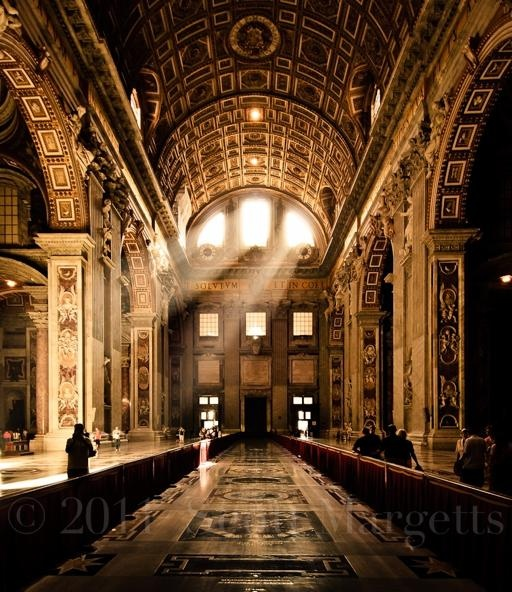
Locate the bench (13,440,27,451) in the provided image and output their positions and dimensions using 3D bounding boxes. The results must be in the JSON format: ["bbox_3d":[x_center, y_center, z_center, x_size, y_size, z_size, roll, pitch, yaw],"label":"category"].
[{"bbox_3d":[-8.962,5.736,18.585,0.502,0.353,1.726,4,-17,-27],"label":"bench"}]

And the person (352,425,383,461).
[{"bbox_3d":[2.185,2.940,9.675,0.520,0.576,1.367,-5,-15,11],"label":"person"}]

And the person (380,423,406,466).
[{"bbox_3d":[2.376,2.500,8.426,0.207,0.807,0.256,-24,-23,34],"label":"person"}]
